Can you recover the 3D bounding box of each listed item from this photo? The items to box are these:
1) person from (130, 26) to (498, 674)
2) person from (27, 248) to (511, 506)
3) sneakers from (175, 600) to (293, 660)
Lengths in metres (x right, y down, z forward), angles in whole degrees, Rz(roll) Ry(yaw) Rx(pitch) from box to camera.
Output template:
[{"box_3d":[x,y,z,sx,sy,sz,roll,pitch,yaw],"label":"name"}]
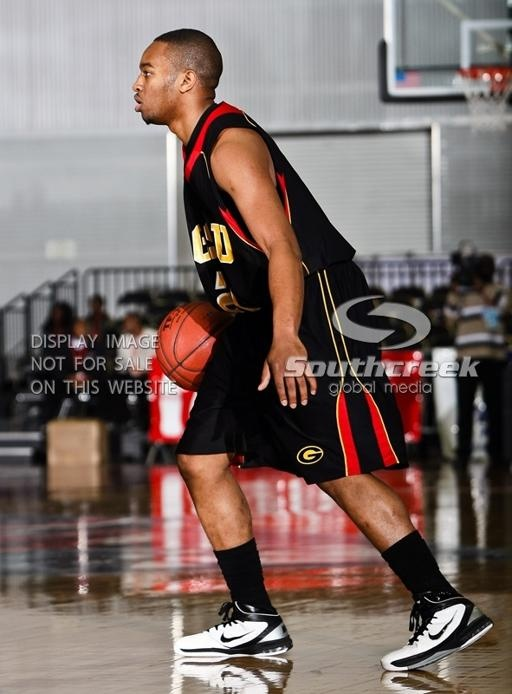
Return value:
[{"box_3d":[0.092,-0.023,1.703,0.506,1.265,0.641,-5,1,-31],"label":"person"},{"box_3d":[0.085,0.285,4.624,3.506,0.956,0.942,-1,0,0],"label":"person"},{"box_3d":[-0.036,0.653,1.813,0.321,0.129,0.102,0,-15,4],"label":"sneakers"}]
